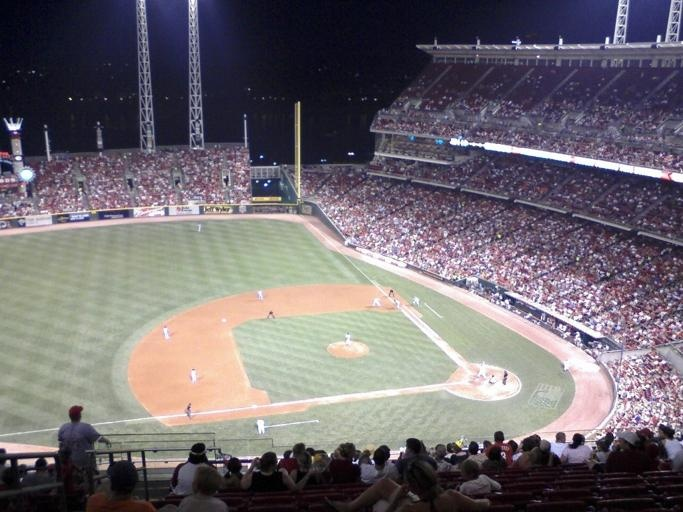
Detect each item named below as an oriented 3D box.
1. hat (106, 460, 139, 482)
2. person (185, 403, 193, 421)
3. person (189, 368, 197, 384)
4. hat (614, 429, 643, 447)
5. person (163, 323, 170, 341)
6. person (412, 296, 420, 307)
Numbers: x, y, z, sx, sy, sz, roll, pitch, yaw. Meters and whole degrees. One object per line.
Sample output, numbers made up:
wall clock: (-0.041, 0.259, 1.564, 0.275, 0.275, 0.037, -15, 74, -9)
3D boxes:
hat: (-4.965, 4.903, 15.103, 0.586, 0.425, 0.555, -1, -1, -19)
person: (-7.566, 7.833, 33.201, 0.365, 0.681, 0.989, -1, -1, -13)
person: (-7.992, 6.569, 36.091, 0.424, 0.701, 1.172, -1, -1, -13)
hat: (8.210, 5.213, 18.800, 0.587, 0.277, 0.416, 7, 9, 20)
person: (-10.655, 4.733, 40.631, 0.508, 0.724, 1.572, -1, -1, -15)
person: (5.317, 3.240, 46.418, 0.387, 0.395, 0.704, 4, 15, 1)
